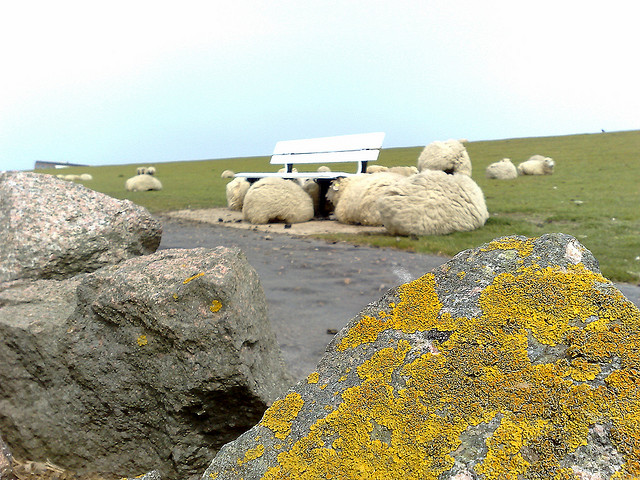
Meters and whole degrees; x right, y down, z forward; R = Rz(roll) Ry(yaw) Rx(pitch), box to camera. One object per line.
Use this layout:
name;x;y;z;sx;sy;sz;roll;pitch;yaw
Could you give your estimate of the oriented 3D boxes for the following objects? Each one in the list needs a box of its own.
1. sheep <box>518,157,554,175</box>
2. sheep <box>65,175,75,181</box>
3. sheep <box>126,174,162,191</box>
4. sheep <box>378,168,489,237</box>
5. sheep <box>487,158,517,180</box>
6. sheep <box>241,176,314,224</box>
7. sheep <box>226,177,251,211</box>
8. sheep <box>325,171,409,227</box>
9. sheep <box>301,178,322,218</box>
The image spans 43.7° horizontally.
sheep;6.483;-2.193;24.158;0.475;0.422;1.026;-13;10;-29
sheep;-11.498;-2.839;36.925;0.498;0.213;0.488;-6;12;-45
sheep;-5.908;-1.863;26.457;0.670;0.418;0.808;-2;4;-22
sheep;1.771;-0.546;12.464;1.513;0.515;1.082;-5;29;-6
sheep;5.299;-2.085;23.673;0.910;0.589;0.615;5;13;40
sheep;-0.800;-0.700;15.239;1.308;0.838;0.857;-6;18;-14
sheep;-1.888;-1.132;18.102;0.476;0.685;0.871;11;56;-22
sheep;0.776;-0.739;14.387;0.901;0.722;1.512;-4;13;-23
sheep;-0.150;-0.911;16.673;0.339;0.966;0.577;-4;-4;-26
